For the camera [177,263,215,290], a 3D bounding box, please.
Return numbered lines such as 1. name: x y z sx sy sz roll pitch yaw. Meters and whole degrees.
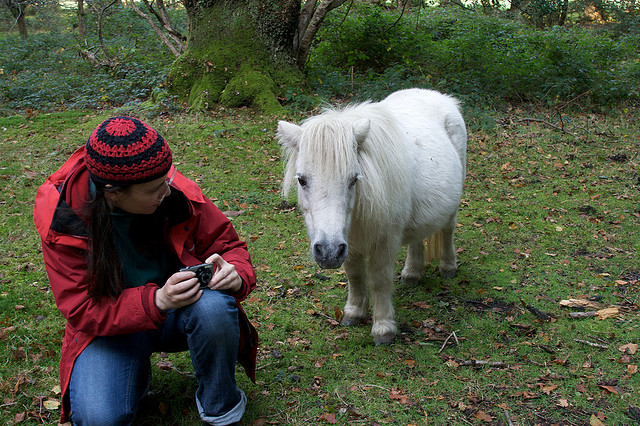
1. camera: -1.111 0.568 4.650 0.330 0.219 0.187 -8 9 -19
